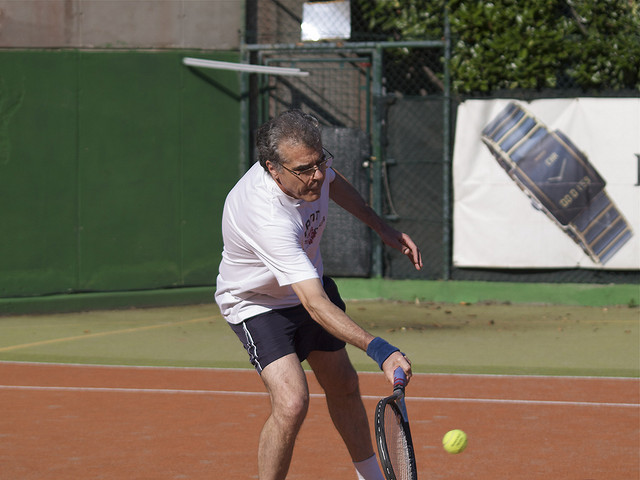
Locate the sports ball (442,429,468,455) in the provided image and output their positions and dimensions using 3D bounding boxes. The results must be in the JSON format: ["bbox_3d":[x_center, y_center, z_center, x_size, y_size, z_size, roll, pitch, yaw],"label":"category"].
[{"bbox_3d":[1.299,1.938,12.538,0.218,0.224,0.218,-1,-4,0],"label":"sports ball"}]

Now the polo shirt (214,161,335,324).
[{"bbox_3d":[-0.414,0.033,11.524,1.053,1.445,0.696,-3,7,-4],"label":"polo shirt"}]
